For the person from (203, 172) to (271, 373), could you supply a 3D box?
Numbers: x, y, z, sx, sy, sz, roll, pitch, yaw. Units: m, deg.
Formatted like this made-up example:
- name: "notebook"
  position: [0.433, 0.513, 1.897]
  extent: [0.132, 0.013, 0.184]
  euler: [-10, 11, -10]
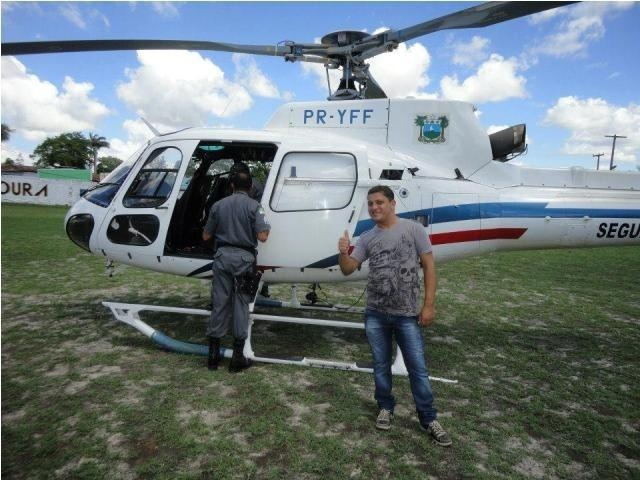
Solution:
- name: "person"
  position: [-0.982, 0.338, 4.183]
  extent: [0.733, 2.255, 0.354]
  euler: [4, 4, -4]

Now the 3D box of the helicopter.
- name: "helicopter"
  position: [0.337, -0.687, 5.709]
  extent: [7.231, 2.419, 5.020]
  euler: [3, 5, 2]

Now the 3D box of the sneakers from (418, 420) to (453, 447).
- name: "sneakers"
  position: [1.045, 1.695, 3.260]
  extent: [0.140, 0.114, 0.315]
  euler: [-17, -2, -30]

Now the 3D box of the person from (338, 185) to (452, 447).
- name: "person"
  position: [0.679, 0.639, 3.339]
  extent: [1.037, 2.243, 0.280]
  euler: [5, 4, 10]

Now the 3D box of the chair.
- name: "chair"
  position: [-1.779, -0.416, 5.224]
  extent: [0.487, 1.012, 0.898]
  euler: [23, 7, 29]
